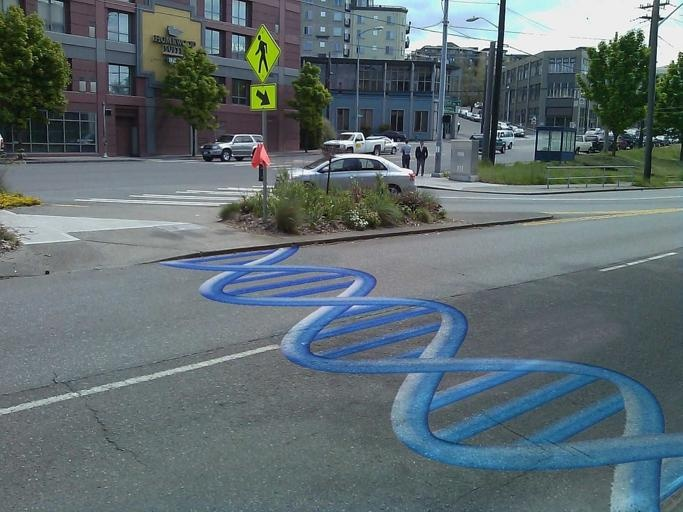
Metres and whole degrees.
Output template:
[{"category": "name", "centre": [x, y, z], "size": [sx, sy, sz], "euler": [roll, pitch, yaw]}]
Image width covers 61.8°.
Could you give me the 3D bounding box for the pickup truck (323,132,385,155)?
[{"category": "pickup truck", "centre": [1.200, -10.144, 51.212], "size": [2.714, 1.512, 5.844], "euler": [9, 12, 43]}]

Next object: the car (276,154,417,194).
[{"category": "car", "centre": [0.318, -2.821, 19.174], "size": [3.274, 1.186, 3.297], "euler": [10, 15, 32]}]

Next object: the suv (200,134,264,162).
[{"category": "suv", "centre": [-8.310, -8.254, 43.229], "size": [3.681, 2.027, 2.750], "euler": [2, 13, -3]}]
